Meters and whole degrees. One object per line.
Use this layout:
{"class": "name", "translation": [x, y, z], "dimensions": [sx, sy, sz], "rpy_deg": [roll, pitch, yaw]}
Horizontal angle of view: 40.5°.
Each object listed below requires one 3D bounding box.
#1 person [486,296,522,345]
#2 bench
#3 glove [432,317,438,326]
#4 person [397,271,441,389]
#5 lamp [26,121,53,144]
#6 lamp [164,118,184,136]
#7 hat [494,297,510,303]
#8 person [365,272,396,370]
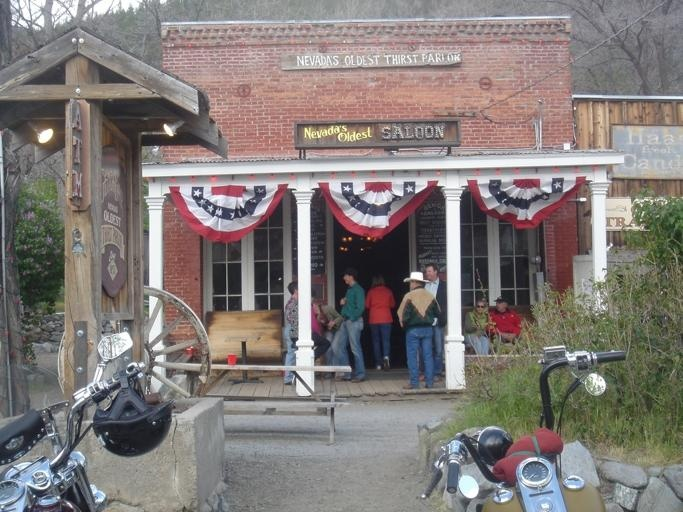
{"class": "person", "translation": [3.053, 1.196, 17.307], "dimensions": [0.480, 0.898, 0.811], "rpy_deg": [-10, 16, -11]}
{"class": "bench", "translation": [-1.277, 2.140, 15.541], "dimensions": [2.231, 1.219, 4.446], "rpy_deg": [-2, 2, -8]}
{"class": "glove", "translation": [1.775, 1.247, 17.549], "dimensions": [0.124, 0.198, 0.182], "rpy_deg": [2, 6, 8]}
{"class": "person", "translation": [1.385, 1.358, 16.698], "dimensions": [0.695, 2.118, 0.530], "rpy_deg": [-2, 2, -27]}
{"class": "lamp", "translation": [-3.869, -1.606, 11.955], "dimensions": [0.319, 0.133, 0.275], "rpy_deg": [15, -21, 32]}
{"class": "lamp", "translation": [-2.219, -1.687, 12.322], "dimensions": [0.278, 0.187, 0.723], "rpy_deg": [-2, 2, -11]}
{"class": "hat", "translation": [3.035, 0.839, 17.471], "dimensions": [0.218, 0.126, 0.173], "rpy_deg": [20, -2, 1]}
{"class": "person", "translation": [0.785, 1.368, 18.833], "dimensions": [0.542, 2.008, 1.302], "rpy_deg": [-1, 2, 2]}
